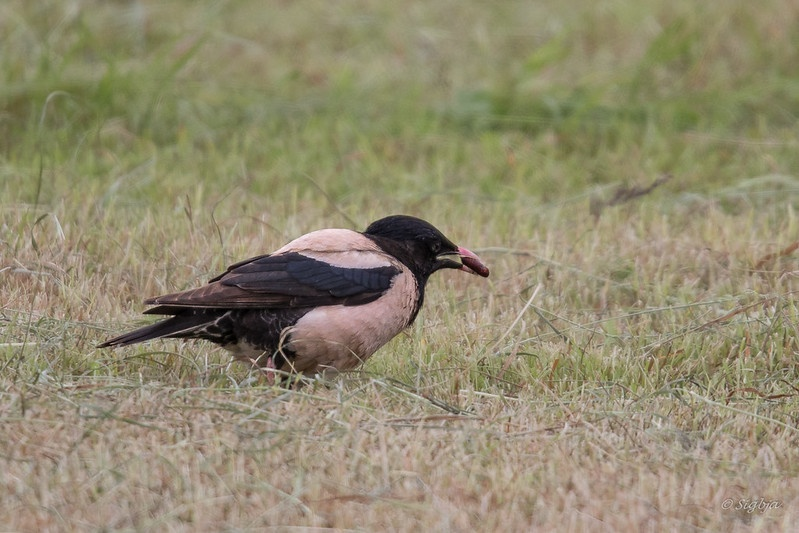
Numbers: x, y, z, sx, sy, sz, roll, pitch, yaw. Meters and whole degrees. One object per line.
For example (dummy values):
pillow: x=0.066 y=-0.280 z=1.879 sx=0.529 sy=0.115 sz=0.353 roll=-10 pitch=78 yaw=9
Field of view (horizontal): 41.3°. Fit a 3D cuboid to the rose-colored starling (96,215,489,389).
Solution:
rose-colored starling: x=-0.542 y=0.242 z=6.681 sx=2.069 sy=0.794 sz=0.754 roll=-8 pitch=32 yaw=-25
